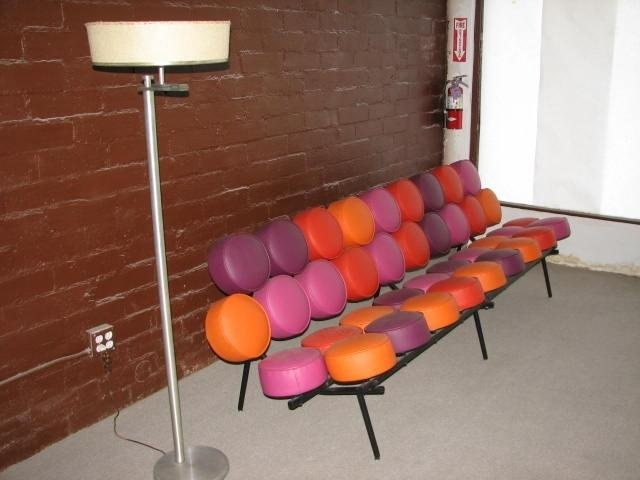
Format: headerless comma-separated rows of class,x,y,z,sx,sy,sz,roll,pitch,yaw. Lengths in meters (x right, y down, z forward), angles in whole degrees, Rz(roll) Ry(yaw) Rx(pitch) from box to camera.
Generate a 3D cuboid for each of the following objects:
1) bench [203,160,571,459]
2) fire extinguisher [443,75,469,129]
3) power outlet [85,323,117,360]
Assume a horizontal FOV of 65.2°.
bench,0.721,0.230,4.036,3.486,1.981,1.440,-6,-2,-42
fire extinguisher,1.430,-1.447,5.257,0.284,0.580,0.294,-7,-2,17
power outlet,-1.325,0.610,2.998,0.065,0.211,0.200,8,12,30
